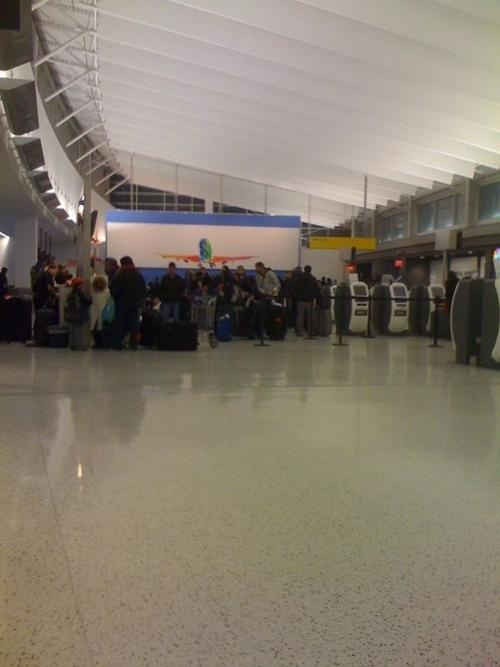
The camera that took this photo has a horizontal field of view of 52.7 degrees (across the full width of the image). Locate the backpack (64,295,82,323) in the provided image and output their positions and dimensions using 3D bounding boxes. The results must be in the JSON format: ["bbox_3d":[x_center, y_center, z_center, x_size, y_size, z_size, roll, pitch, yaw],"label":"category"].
[{"bbox_3d":[-3.161,-0.443,9.006,0.300,0.541,0.271,6,18,12],"label":"backpack"}]

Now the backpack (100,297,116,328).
[{"bbox_3d":[-2.607,-0.405,9.278,0.191,0.567,0.430,-1,4,-32],"label":"backpack"}]

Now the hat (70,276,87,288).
[{"bbox_3d":[-3.166,-0.954,9.292,0.267,0.189,0.613,0,3,-18],"label":"hat"}]

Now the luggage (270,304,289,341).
[{"bbox_3d":[0.698,-0.276,12.266,0.423,0.833,0.500,0,3,-12],"label":"luggage"}]

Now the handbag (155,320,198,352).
[{"bbox_3d":[-1.361,0.215,9.592,0.752,0.645,0.457,0,-5,-1],"label":"handbag"}]

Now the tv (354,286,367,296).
[{"bbox_3d":[2.977,-1.160,13.623,0.249,0.277,0.064,3,-2,-11],"label":"tv"}]

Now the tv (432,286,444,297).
[{"bbox_3d":[5.373,-1.242,14.559,0.394,0.342,0.678,2,3,20],"label":"tv"}]

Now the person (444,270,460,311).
[{"bbox_3d":[3.904,-0.868,9.821,0.202,0.801,1.749,2,3,22],"label":"person"}]

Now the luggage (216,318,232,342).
[{"bbox_3d":[-0.604,-0.149,12.202,0.415,0.932,0.460,0,4,-1],"label":"luggage"}]

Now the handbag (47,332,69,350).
[{"bbox_3d":[-3.882,0.127,10.149,0.384,0.449,0.314,2,6,-8],"label":"handbag"}]
